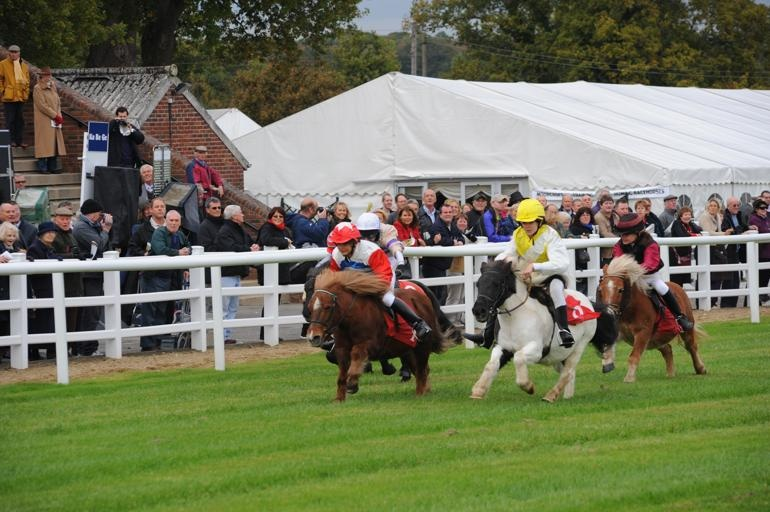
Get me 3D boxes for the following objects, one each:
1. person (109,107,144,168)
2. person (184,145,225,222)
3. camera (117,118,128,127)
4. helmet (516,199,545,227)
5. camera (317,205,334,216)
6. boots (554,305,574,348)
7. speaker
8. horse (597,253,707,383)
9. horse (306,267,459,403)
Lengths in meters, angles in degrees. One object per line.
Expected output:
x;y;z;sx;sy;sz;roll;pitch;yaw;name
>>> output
-6.972;-2.893;47.974;0.948;2.257;0.716;-4;16;-20;person
-4.961;-2.152;48.958;0.944;2.589;1.194;5;-9;23;person
-7.007;-3.601;47.727;0.282;0.196;0.168;2;-2;-17;camera
3.216;-1.044;40.094;0.609;0.559;0.343;1;-2;2;helmet
-1.720;-1.280;49.284;0.422;0.148;0.388;-4;6;-30;camera
3.979;1.550;40.038;0.409;0.948;0.229;1;-2;8;boots
-6.846;-1.247;46.134;1.248;2.475;0.723;0;29;-3;speaker
6.148;1.400;42.220;1.533;3.164;5.097;6;4;34;horse
-0.041;1.831;41.098;1.406;3.066;5.194;-2;-2;38;horse
